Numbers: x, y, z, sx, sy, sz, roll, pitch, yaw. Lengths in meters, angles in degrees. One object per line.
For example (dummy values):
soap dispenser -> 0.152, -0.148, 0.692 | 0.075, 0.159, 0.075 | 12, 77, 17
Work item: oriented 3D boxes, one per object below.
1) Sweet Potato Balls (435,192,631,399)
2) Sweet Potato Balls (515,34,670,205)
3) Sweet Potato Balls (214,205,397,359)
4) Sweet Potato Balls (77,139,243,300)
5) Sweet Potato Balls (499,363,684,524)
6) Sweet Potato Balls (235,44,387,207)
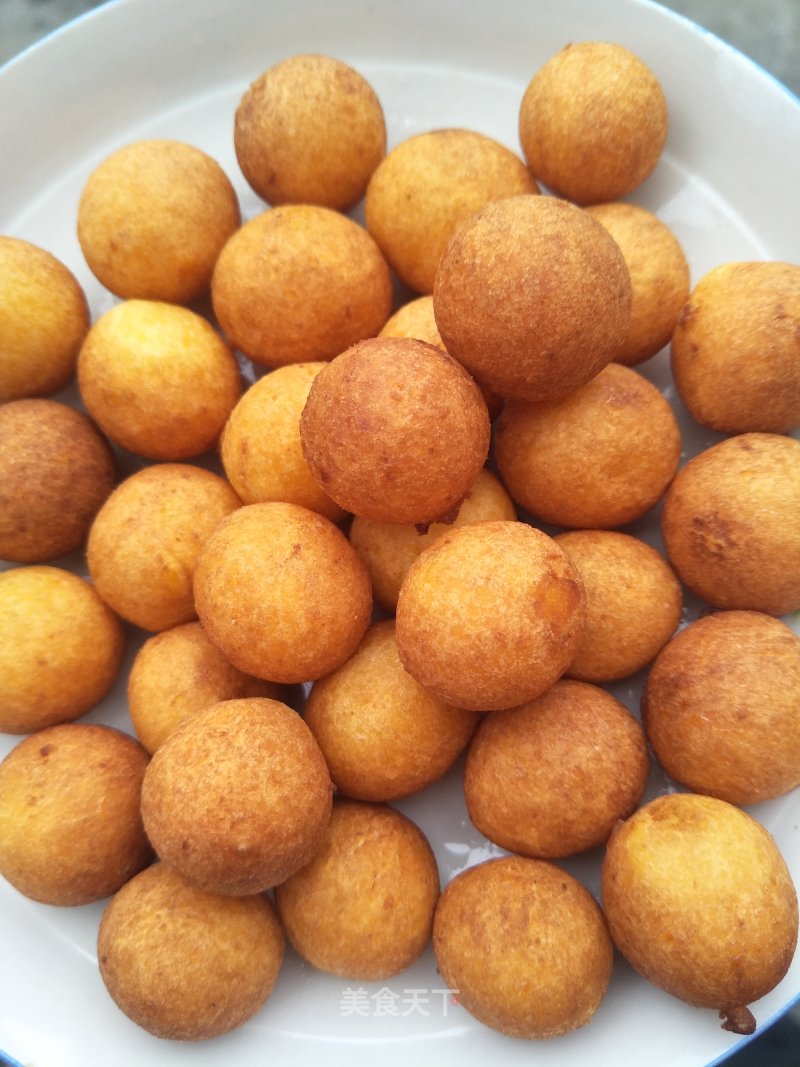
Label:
Sweet Potato Balls -> 0.107, -0.205, 0.988 | 0.162, 0.166, 0.179 | 6, 100, 31
Sweet Potato Balls -> 0.192, -0.387, 1.100 | 0.159, 0.151, 0.176 | 6, 99, 20
Sweet Potato Balls -> -0.091, -0.225, 1.115 | 0.165, 0.149, 0.149 | -8, 96, 8
Sweet Potato Balls -> -0.231, -0.314, 1.166 | 0.153, 0.125, 0.162 | 3, 42, -3
Sweet Potato Balls -> 0.178, -0.059, 1.024 | 0.161, 0.149, 0.146 | -2, 81, 11
Sweet Potato Balls -> -0.086, -0.410, 1.179 | 0.155, 0.153, 0.158 | -3, 45, 3
